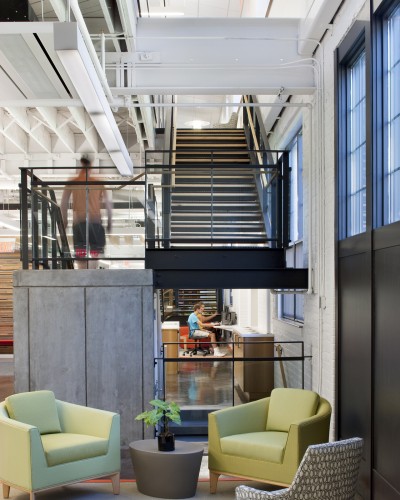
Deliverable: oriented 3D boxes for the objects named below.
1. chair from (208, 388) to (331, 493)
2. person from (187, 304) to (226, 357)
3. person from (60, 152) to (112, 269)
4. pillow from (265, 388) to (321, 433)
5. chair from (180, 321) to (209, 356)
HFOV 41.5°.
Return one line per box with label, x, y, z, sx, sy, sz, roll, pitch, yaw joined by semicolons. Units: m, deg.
chair;0.647;1.615;4.573;0.795;1.027;0.797;-8;-15;39
person;0.107;1.447;9.313;0.506;1.104;0.394;-12;-19;13
person;-1.546;-0.446;7.053;0.556;0.367;1.986;-5;-52;-17
pillow;0.838;1.459;4.839;0.358;0.398;0.369;-3;1;33
chair;-0.094;1.378;8.156;0.377;0.674;0.515;0;-3;0
